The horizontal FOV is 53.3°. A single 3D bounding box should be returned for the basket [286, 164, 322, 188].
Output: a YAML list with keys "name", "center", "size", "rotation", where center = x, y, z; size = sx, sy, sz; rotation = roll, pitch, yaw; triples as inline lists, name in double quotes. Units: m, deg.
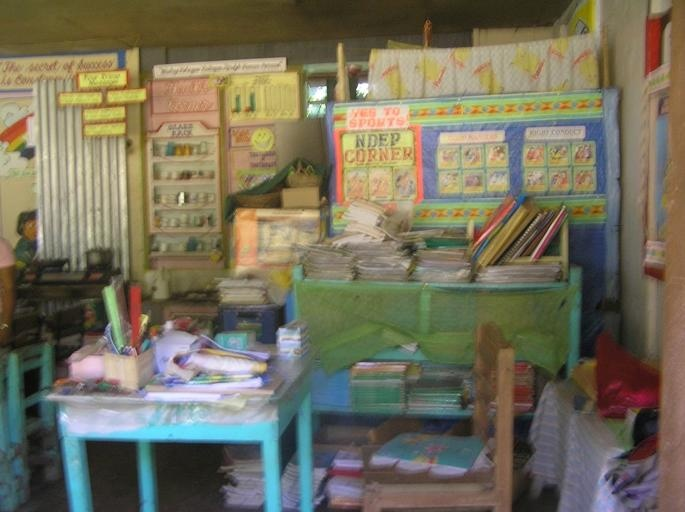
- name: "basket"
  center: [-0.338, -0.712, 6.219]
  size: [0.283, 0.103, 0.279]
  rotation: [-10, 23, -29]

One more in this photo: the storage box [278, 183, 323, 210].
- name: "storage box"
  center: [-0.362, -0.513, 5.824]
  size: [0.350, 0.186, 0.200]
  rotation: [0, 2, 5]

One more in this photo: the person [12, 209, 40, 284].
- name: "person"
  center: [-3.892, -0.213, 8.455]
  size: [0.283, 0.692, 1.401]
  rotation: [-5, 7, -25]
